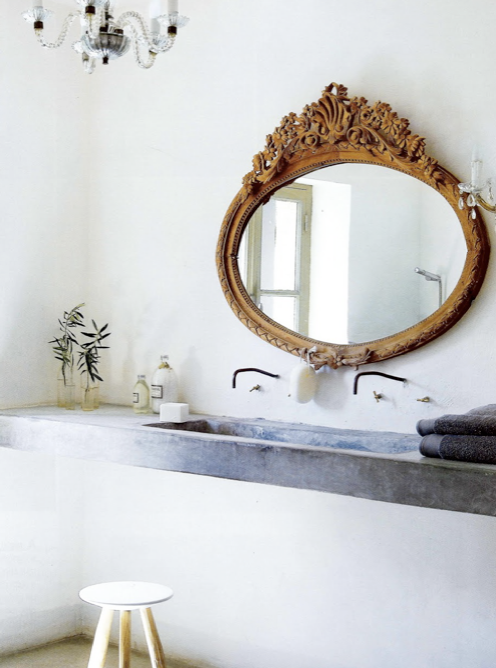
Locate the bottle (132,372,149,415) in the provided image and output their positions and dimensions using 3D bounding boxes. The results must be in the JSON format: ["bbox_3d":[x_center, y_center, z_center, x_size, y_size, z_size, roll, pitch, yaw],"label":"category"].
[{"bbox_3d":[-0.380,0.210,2.396,0.061,0.105,0.109,5,-2,-8],"label":"bottle"}]

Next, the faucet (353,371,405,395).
[{"bbox_3d":[0.384,0.145,1.953,0.152,0.077,0.129,4,-2,9],"label":"faucet"}]

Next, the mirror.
[{"bbox_3d":[0.333,-0.319,1.977,0.827,0.796,0.070,11,-9,32],"label":"mirror"}]

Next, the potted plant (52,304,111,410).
[{"bbox_3d":[-0.645,0.074,2.594,0.224,0.344,0.351,6,-3,-25],"label":"potted plant"}]

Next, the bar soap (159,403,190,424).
[{"bbox_3d":[-0.242,0.247,2.146,0.064,0.051,0.067,-1,-4,26],"label":"bar soap"}]

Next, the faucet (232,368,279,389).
[{"bbox_3d":[0.030,0.143,2.226,0.174,0.071,0.036,-15,8,-33],"label":"faucet"}]
